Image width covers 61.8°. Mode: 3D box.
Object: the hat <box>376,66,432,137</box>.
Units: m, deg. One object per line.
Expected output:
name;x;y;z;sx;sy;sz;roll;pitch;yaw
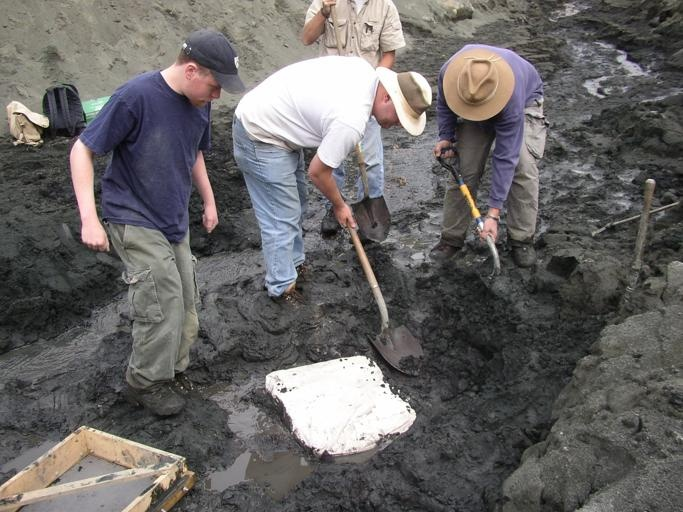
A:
hat;0.508;-1.193;4.303;0.191;0.529;0.424;-19;4;35

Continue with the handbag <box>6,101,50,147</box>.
handbag;-3.964;-1.651;7.177;0.490;0.468;0.630;-8;47;-16

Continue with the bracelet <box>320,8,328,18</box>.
bracelet;-0.164;-2.401;5.626;0.052;0.076;0.035;4;45;11

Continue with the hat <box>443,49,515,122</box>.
hat;1.142;-1.419;4.740;0.585;0.451;0.477;6;33;17

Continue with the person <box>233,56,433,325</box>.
person;-0.151;-0.557;4.797;1.517;2.010;0.642;9;33;21

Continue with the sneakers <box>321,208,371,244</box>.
sneakers;-0.042;-0.243;6.189;0.283;0.540;0.101;-37;43;8

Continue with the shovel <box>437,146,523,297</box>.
shovel;1.276;-0.286;5.221;0.196;1.443;0.390;-21;3;-31

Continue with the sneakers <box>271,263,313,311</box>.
sneakers;-0.440;0.295;5.359;0.288;0.404;0.131;-28;27;-35
